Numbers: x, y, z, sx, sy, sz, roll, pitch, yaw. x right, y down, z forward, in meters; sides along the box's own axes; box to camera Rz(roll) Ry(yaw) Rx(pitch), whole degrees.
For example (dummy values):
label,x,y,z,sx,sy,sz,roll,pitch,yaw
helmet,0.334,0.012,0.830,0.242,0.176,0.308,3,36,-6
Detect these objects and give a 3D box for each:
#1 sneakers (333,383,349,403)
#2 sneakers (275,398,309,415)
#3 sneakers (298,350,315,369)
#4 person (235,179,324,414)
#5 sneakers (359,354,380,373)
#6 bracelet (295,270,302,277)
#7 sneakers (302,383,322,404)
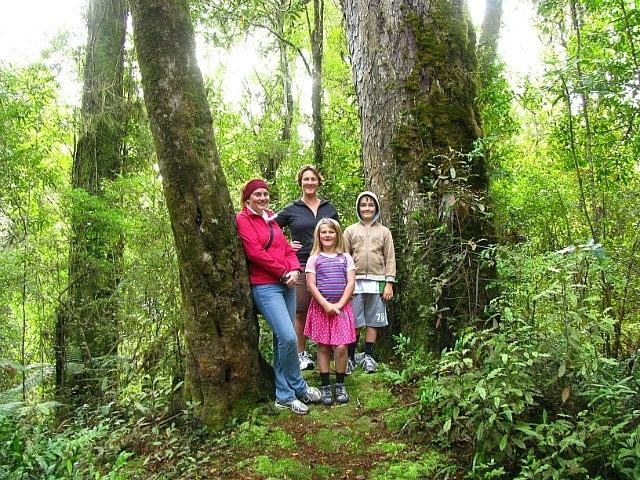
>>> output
label,x,y,z,sx,sy,sz,roll,pitch,yaw
sneakers,0.252,1.792,5.989,0.112,0.105,0.236,0,21,-6
sneakers,-0.321,1.893,5.900,0.375,0.194,0.154,1,-4,15
sneakers,-0.191,1.598,6.797,0.156,0.158,0.326,2,-7,-21
person,-0.544,0.650,6.056,0.803,2.769,0.492,-3,-10,-16
sneakers,0.614,1.575,6.545,0.130,0.115,0.252,-3,-4,-11
bracelet,-0.264,0.389,6.299,0.066,0.069,0.064,18,31,-12
sneakers,-0.116,1.822,6.022,0.236,0.146,0.108,10,-4,26
